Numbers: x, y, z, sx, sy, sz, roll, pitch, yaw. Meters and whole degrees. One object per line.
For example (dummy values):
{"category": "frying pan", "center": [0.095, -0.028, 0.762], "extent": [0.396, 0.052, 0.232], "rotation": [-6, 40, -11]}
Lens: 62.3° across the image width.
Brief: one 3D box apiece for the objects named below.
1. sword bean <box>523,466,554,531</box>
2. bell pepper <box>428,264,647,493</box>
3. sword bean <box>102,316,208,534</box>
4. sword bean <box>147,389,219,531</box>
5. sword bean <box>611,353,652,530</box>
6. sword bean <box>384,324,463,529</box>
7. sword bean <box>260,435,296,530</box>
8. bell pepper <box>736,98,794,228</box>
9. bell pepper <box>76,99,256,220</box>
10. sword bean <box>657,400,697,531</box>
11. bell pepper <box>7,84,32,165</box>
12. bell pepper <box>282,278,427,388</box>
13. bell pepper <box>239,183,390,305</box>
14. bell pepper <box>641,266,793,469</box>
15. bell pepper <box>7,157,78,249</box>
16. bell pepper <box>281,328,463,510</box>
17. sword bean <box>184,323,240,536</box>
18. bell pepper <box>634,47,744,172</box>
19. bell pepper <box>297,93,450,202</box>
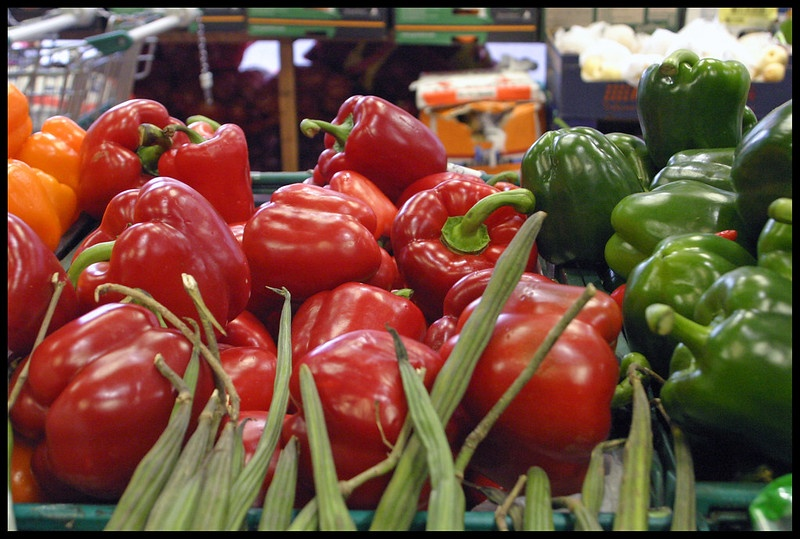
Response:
{"category": "sword bean", "center": [0.215, 0.362, 1.048], "extent": [0.034, 0.028, 0.115], "rotation": [12, 27, 8]}
{"category": "bell pepper", "center": [0.252, 0.237, 1.369], "extent": [0.386, 0.410, 0.358], "rotation": [18, -20, 34]}
{"category": "sword bean", "center": [-0.400, 0.266, 1.077], "extent": [0.099, 0.064, 0.367], "rotation": [9, 41, 9]}
{"category": "sword bean", "center": [-0.311, 0.285, 1.063], "extent": [0.044, 0.038, 0.254], "rotation": [3, 46, 25]}
{"category": "sword bean", "center": [0.422, 0.284, 1.154], "extent": [0.060, 0.051, 0.354], "rotation": [27, 51, -8]}
{"category": "sword bean", "center": [0.031, 0.227, 1.084], "extent": [0.102, 0.082, 0.371], "rotation": [15, 39, -13]}
{"category": "sword bean", "center": [-0.187, 0.338, 1.056], "extent": [0.028, 0.025, 0.144], "rotation": [28, 46, -15]}
{"category": "bell pepper", "center": [0.691, -0.197, 1.266], "extent": [0.101, 0.242, 0.121], "rotation": [5, 10, 26]}
{"category": "bell pepper", "center": [-0.669, -0.317, 1.933], "extent": [0.442, 0.331, 0.281], "rotation": [11, -16, -6]}
{"category": "sword bean", "center": [0.474, 0.339, 1.128], "extent": [0.058, 0.043, 0.194], "rotation": [-1, 24, 18]}
{"category": "bell pepper", "center": [-1.065, -0.410, 1.842], "extent": [0.060, 0.206, 0.170], "rotation": [-5, 10, -28]}
{"category": "bell pepper", "center": [-0.090, 0.157, 1.558], "extent": [0.203, 0.219, 0.229], "rotation": [0, 43, 48]}
{"category": "bell pepper", "center": [-0.213, -0.056, 1.678], "extent": [0.299, 0.282, 0.300], "rotation": [-21, 1, -12]}
{"category": "bell pepper", "center": [0.565, 0.165, 1.134], "extent": [0.209, 0.328, 0.120], "rotation": [4, 10, 25]}
{"category": "bell pepper", "center": [-0.906, -0.171, 1.659], "extent": [0.168, 0.165, 0.233], "rotation": [16, 27, -37]}
{"category": "bell pepper", "center": [-0.060, 0.289, 1.260], "extent": [0.286, 0.312, 0.331], "rotation": [-6, -21, 29]}
{"category": "sword bean", "center": [-0.308, 0.267, 1.069], "extent": [0.085, 0.057, 0.311], "rotation": [16, 30, -14]}
{"category": "bell pepper", "center": [0.723, -0.386, 1.671], "extent": [0.263, 0.338, 0.270], "rotation": [4, 6, 14]}
{"category": "bell pepper", "center": [-0.083, -0.368, 2.067], "extent": [0.458, 0.288, 0.311], "rotation": [23, -4, -27]}
